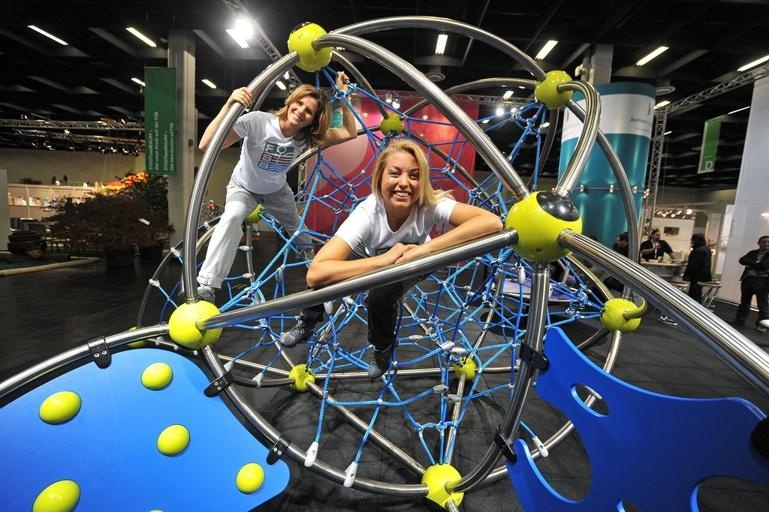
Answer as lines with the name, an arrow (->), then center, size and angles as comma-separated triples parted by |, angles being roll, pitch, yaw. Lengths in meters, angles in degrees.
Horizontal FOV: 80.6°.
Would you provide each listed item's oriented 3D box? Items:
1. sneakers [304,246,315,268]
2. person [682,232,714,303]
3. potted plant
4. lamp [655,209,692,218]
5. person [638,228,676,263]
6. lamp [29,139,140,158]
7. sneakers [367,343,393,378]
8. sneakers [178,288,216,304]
sneakers -> -0.811, 0.023, 4.941 | 0.164, 0.197, 0.513 | -2, 1, -13
person -> 5.750, 0.251, 8.317 | 0.406, 1.292, 0.706 | 4, 8, 34
potted plant -> -5.533, -0.765, 9.464 | 1.182, 1.972, 2.069 | 4, 8, 35
lamp -> 7.086, -1.015, 11.057 | 0.176, 0.257, 0.820 | -5, 7, -35
person -> 5.871, -0.226, 9.808 | 0.949, 0.666, 0.539 | -4, 7, -30
lamp -> -11.990, -4.317, 18.482 | 4.741, 0.645, 1.309 | 1, 6, 14
sneakers -> -0.062, 1.023, 4.397 | 0.173, 0.387, 0.172 | 6, -13, 27
sneakers -> -1.648, 0.355, 4.007 | 0.323, 0.118, 0.235 | -1, -7, 3
